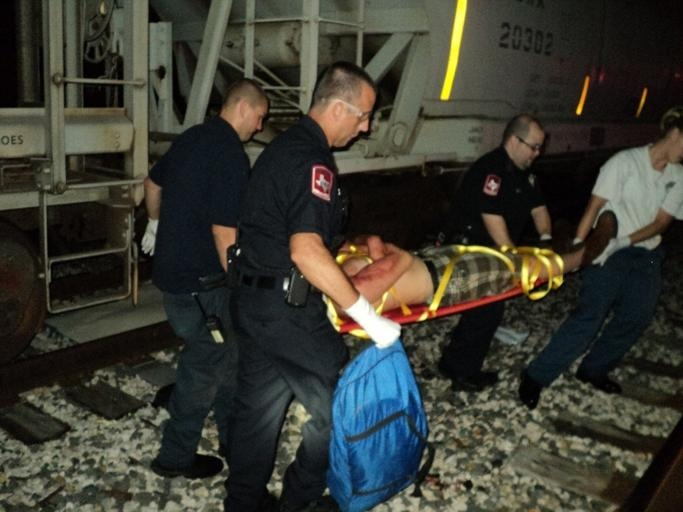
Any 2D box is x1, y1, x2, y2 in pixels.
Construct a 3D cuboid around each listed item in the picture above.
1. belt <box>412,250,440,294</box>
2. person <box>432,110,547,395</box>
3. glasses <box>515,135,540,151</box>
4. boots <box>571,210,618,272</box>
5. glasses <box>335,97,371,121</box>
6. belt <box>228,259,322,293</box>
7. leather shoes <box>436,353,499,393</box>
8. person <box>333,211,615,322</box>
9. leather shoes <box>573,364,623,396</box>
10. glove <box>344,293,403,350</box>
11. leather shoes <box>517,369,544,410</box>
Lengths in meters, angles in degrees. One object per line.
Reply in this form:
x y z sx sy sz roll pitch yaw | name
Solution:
0.568 0.072 3.404 0.162 0.218 0.054 -26 -17 31 | belt
1.222 0.006 4.139 0.942 2.087 0.728 16 24 39 | person
1.312 -0.771 3.779 0.122 0.035 0.121 40 27 26 | glasses
1.807 -0.089 3.801 0.216 0.479 0.155 27 1 -11 | boots
0.060 -0.699 2.602 0.109 0.032 0.106 34 23 11 | glasses
-0.388 0.097 2.626 0.270 0.077 0.205 14 2 4 | belt
0.962 0.892 4.156 0.538 0.253 0.196 0 26 11 | leather shoes
0.752 0.075 3.547 1.839 0.439 0.955 -8 -1 22 | person
2.033 0.981 4.254 0.320 0.172 0.074 26 10 11 | leather shoes
0.142 0.311 2.650 0.305 0.197 0.110 43 -12 -26 | glove
1.399 0.982 3.971 0.118 0.126 0.326 7 23 9 | leather shoes
